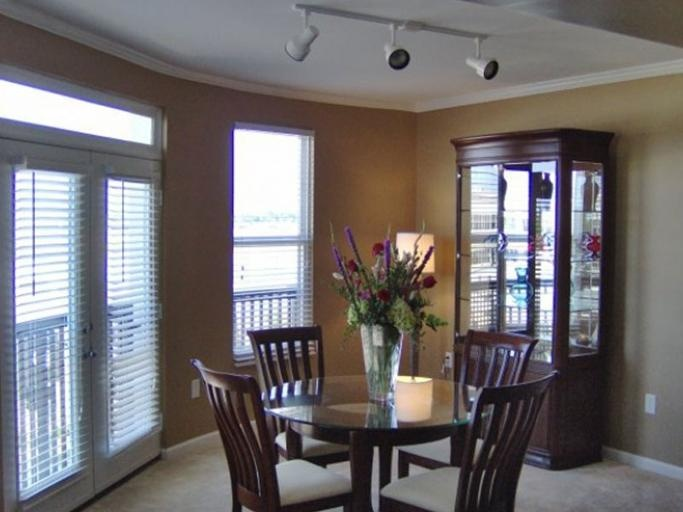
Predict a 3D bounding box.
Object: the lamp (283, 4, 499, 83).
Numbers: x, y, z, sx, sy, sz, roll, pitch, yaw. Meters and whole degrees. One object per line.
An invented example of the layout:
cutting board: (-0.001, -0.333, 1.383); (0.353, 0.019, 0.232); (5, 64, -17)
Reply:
lamp: (0.339, -1.337, 3.771); (1.379, 0.335, 0.397); (-2, 3, -19)
